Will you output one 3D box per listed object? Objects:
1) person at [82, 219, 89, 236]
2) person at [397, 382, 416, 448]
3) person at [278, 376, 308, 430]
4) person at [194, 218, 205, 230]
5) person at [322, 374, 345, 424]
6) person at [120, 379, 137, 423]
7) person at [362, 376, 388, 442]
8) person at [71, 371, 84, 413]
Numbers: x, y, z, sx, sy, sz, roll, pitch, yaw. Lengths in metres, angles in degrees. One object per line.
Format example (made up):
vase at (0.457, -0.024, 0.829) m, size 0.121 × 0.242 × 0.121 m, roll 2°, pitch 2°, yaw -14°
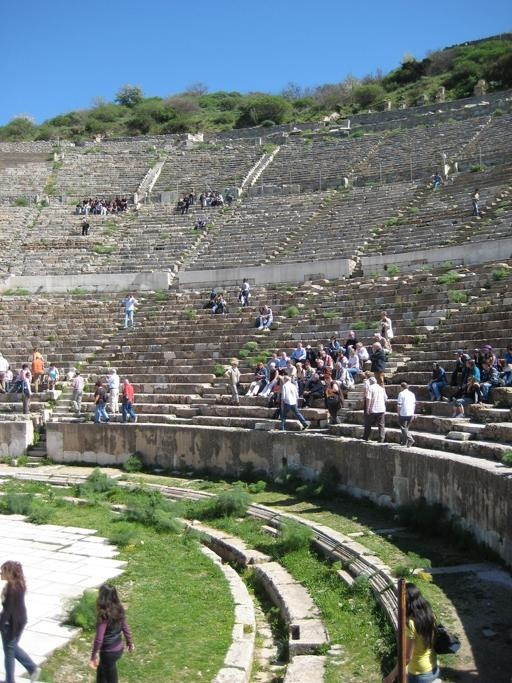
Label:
person at (-6.241, -4.188, 40.397) m, size 0.313 × 0.697 × 1.120 m, roll -2°, pitch -2°, yaw -9°
person at (2.255, 1.103, 16.615) m, size 0.242 × 0.772 × 0.637 m, roll -2°, pitch -1°, yaw 7°
person at (0.670, 1.124, 20.440) m, size 0.538 × 0.735 × 1.014 m, roll -2°, pitch -2°, yaw -1°
person at (-1.990, -4.123, 38.934) m, size 0.402 × 0.525 × 0.870 m, roll -2°, pitch -2°, yaw -3°
person at (1.389, 1.030, 19.771) m, size 0.287 × 0.675 × 0.892 m, roll -2°, pitch -2°, yaw 5°
person at (-2.742, 1.263, 23.762) m, size 0.313 × 0.903 × 1.478 m, roll -2°, pitch -2°, yaw -7°
person at (1.869, 1.086, 17.599) m, size 0.376 × 0.803 × 1.131 m, roll -2°, pitch -2°, yaw 5°
person at (-4.075, 1.193, 25.283) m, size 0.292 × 0.876 × 1.277 m, roll -2°, pitch -2°, yaw -9°
